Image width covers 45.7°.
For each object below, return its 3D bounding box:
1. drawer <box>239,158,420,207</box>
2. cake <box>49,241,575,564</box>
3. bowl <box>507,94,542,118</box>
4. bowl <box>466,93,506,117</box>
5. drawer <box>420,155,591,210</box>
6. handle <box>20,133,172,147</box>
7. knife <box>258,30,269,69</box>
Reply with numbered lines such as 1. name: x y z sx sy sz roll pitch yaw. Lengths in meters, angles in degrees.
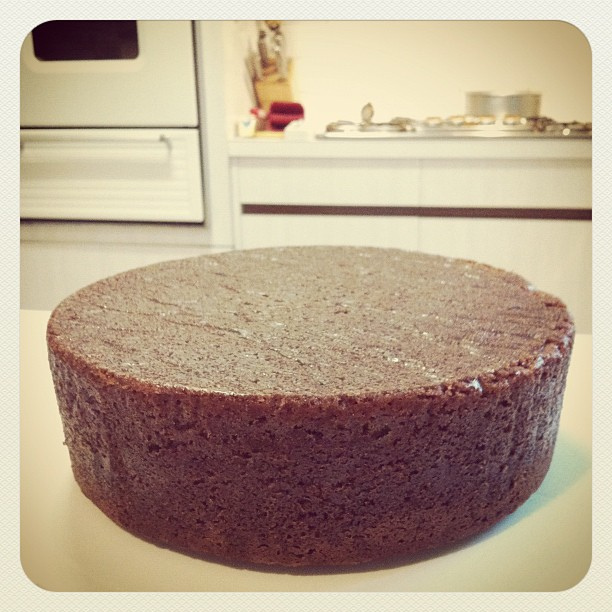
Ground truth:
1. drawer: 0.082 -0.457 2.690 0.666 0.181 0.035 0 12 8
2. cake: 0.014 0.171 1.360 0.938 0.418 0.644 -3 11 -11
3. bowl: 0.806 -0.735 2.674 0.106 0.063 0.100 -2 21 1
4. bowl: 0.690 -0.770 2.770 0.149 0.081 0.140 -1 20 0
5. drawer: 0.712 -0.433 2.611 0.600 0.191 0.079 0 12 6
6. handle: -0.769 -0.601 2.653 0.560 0.058 0.031 0 12 6
7. knife: -0.174 -1.052 2.968 0.034 0.115 0.032 -8 15 4
